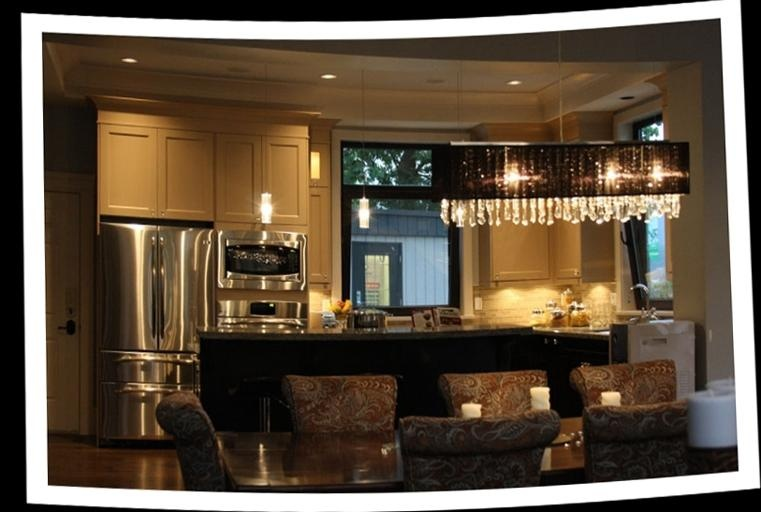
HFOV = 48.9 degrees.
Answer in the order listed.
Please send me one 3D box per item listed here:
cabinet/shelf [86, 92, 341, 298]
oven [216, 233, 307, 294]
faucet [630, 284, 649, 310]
[{"bbox_3d":[-1.491,-0.511,7.001,1.799,1.555,0.652,1,-3,-21],"label":"cabinet/shelf"},{"bbox_3d":[-1.036,0.109,7.258,0.819,0.526,0.453,4,-20,-23],"label":"oven"},{"bbox_3d":[2.329,0.366,7.501,0.149,0.176,0.292,-3,-2,13],"label":"faucet"}]
